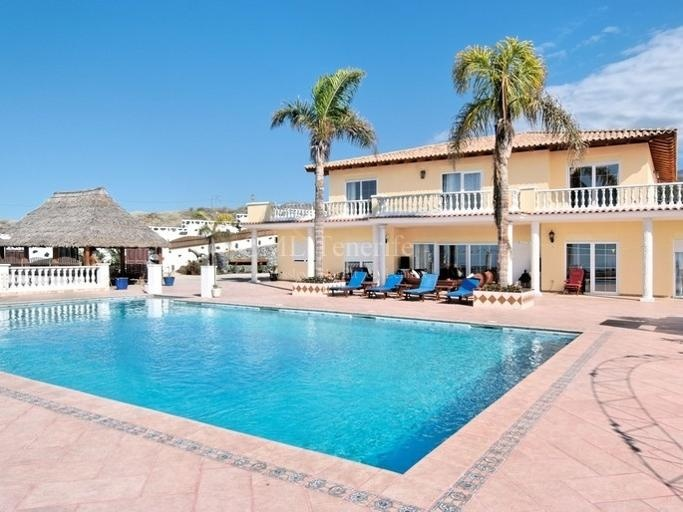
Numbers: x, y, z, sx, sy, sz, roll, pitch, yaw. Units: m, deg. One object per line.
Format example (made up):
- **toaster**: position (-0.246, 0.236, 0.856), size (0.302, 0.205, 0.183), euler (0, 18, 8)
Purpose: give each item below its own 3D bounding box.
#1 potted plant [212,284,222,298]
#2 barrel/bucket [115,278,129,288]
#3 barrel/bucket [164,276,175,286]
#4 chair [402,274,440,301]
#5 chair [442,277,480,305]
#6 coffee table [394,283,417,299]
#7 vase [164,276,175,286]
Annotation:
- **potted plant**: position (-5.244, 1.484, 22.331), size (0.417, 0.587, 0.462), euler (-4, -4, 33)
- **barrel/bucket**: position (-11.102, 1.360, 26.615), size (0.597, 0.481, 0.550), euler (-1, -1, 0)
- **barrel/bucket**: position (-9.383, 1.348, 28.668), size (0.534, 0.387, 0.522), euler (0, -6, 0)
- **chair**: position (3.186, 1.245, 21.632), size (0.841, 0.950, 1.588), euler (0, 1, 38)
- **chair**: position (4.625, 1.331, 20.242), size (0.781, 0.743, 1.564), euler (0, 3, 39)
- **coffee table**: position (2.659, 1.477, 22.584), size (0.563, 0.413, 0.877), euler (1, 0, 20)
- **vase**: position (-9.366, 1.352, 28.688), size (0.534, 0.387, 0.522), euler (4, -8, -34)
